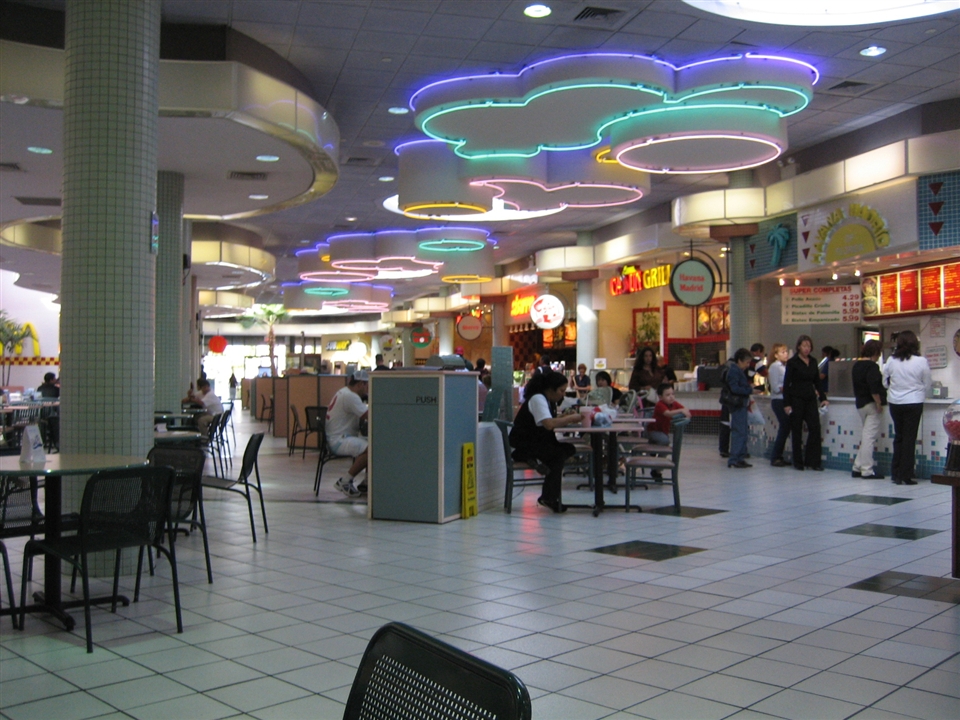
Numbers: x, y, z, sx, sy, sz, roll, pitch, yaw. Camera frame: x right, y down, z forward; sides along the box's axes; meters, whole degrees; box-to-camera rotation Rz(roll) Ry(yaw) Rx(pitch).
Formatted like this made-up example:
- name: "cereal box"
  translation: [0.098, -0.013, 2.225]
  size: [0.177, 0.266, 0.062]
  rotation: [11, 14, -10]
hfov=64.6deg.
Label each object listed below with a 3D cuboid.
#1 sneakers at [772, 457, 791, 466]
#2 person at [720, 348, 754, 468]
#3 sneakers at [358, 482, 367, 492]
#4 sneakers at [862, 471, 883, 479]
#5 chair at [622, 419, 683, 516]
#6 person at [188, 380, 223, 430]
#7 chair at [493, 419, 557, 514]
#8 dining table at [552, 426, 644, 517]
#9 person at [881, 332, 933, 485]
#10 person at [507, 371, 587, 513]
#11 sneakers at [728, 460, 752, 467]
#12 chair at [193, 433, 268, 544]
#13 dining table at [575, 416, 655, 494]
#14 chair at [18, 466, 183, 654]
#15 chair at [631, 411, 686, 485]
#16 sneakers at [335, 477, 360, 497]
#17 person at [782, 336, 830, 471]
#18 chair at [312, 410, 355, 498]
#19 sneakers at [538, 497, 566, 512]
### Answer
- name: "sneakers"
  translation: [4.899, 1.656, 12.375]
  size: [0.334, 0.123, 0.112]
  rotation: [-2, -1, 8]
- name: "person"
  translation: [4.191, 0.768, 12.375]
  size: [0.447, 1.883, 0.655]
  rotation: [-1, -2, 14]
- name: "sneakers"
  translation: [-1.469, 1.596, 9.471]
  size: [0.080, 0.089, 0.211]
  rotation: [2, -11, -9]
- name: "sneakers"
  translation: [5.568, 1.622, 10.754]
  size: [0.290, 0.116, 0.086]
  rotation: [-2, 1, -2]
- name: "chair"
  translation: [1.977, 1.173, 8.513]
  size: [0.658, 0.944, 0.669]
  rotation: [0, -6, 15]
- name: "person"
  translation: [-4.859, 0.858, 13.441]
  size: [0.536, 0.939, 0.391]
  rotation: [7, 5, 3]
- name: "chair"
  translation: [0.498, 1.187, 8.681]
  size: [0.726, 0.856, 0.746]
  rotation: [-1, -11, -33]
- name: "dining table"
  translation: [1.277, 1.218, 8.360]
  size: [0.932, 0.969, 0.944]
  rotation: [-7, -15, 30]
- name: "person"
  translation: [5.712, 0.625, 10.157]
  size: [0.547, 2.021, 0.504]
  rotation: [-1, -2, 27]
- name: "person"
  translation: [0.720, 0.888, 8.389]
  size: [0.799, 1.571, 0.873]
  rotation: [0, -2, 2]
- name: "sneakers"
  translation: [4.198, 1.652, 12.168]
  size: [0.394, 0.158, 0.141]
  rotation: [0, -2, -7]
- name: "chair"
  translation: [-2.376, 1.162, 7.083]
  size: [0.721, 0.972, 0.644]
  rotation: [2, -1, -3]
- name: "dining table"
  translation: [1.513, 1.024, 8.749]
  size: [1.116, 0.779, 1.044]
  rotation: [0, -3, -1]
- name: "chair"
  translation: [-2.299, 1.156, 4.735]
  size: [0.850, 1.044, 0.905]
  rotation: [1, -3, -41]
- name: "chair"
  translation: [2.006, 1.123, 8.458]
  size: [0.727, 0.950, 0.674]
  rotation: [-1, 0, 7]
- name: "sneakers"
  translation: [-1.638, 1.561, 9.407]
  size: [0.272, 0.251, 0.566]
  rotation: [0, -2, -9]
- name: "person"
  translation: [5.024, 0.661, 11.726]
  size: [0.560, 2.033, 0.339]
  rotation: [0, -2, -3]
- name: "chair"
  translation: [-1.902, 1.287, 10.193]
  size: [0.725, 0.972, 0.663]
  rotation: [5, -7, -31]
- name: "sneakers"
  translation: [0.755, 1.605, 8.444]
  size: [0.363, 0.136, 0.119]
  rotation: [14, -6, -18]
